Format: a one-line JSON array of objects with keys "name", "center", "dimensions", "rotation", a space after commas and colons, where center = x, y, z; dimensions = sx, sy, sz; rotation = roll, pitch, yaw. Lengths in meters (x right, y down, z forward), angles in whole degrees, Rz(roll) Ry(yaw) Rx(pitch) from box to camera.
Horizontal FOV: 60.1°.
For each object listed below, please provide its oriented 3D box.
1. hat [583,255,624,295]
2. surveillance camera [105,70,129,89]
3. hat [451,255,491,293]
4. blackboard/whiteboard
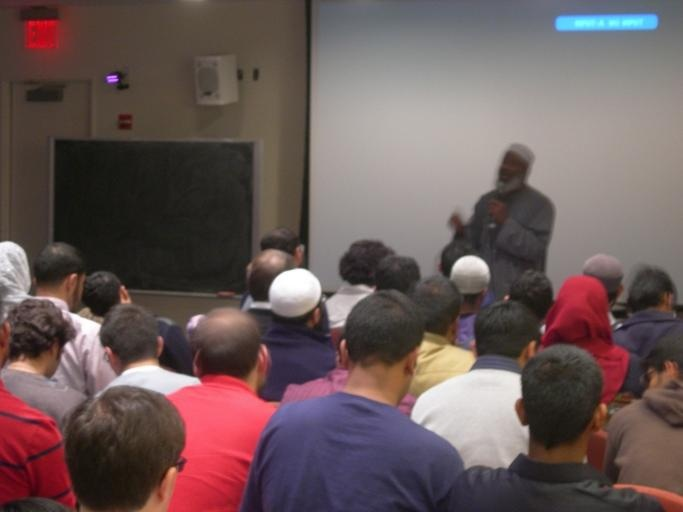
[{"name": "hat", "center": [1.757, 0.108, 3.974], "dimensions": [0.256, 0.214, 0.239], "rotation": [9, 10, -1]}, {"name": "surveillance camera", "center": [-2.281, -1.786, 6.036], "dimensions": [0.236, 0.153, 0.105], "rotation": [5, 11, -11]}, {"name": "hat", "center": [0.752, 0.126, 3.424], "dimensions": [0.209, 0.190, 0.235], "rotation": [2, 10, 5]}, {"name": "blackboard/whiteboard", "center": [-1.718, -0.405, 5.660], "dimensions": [1.505, 1.178, 0.076], "rotation": [2, 1, 2]}]
